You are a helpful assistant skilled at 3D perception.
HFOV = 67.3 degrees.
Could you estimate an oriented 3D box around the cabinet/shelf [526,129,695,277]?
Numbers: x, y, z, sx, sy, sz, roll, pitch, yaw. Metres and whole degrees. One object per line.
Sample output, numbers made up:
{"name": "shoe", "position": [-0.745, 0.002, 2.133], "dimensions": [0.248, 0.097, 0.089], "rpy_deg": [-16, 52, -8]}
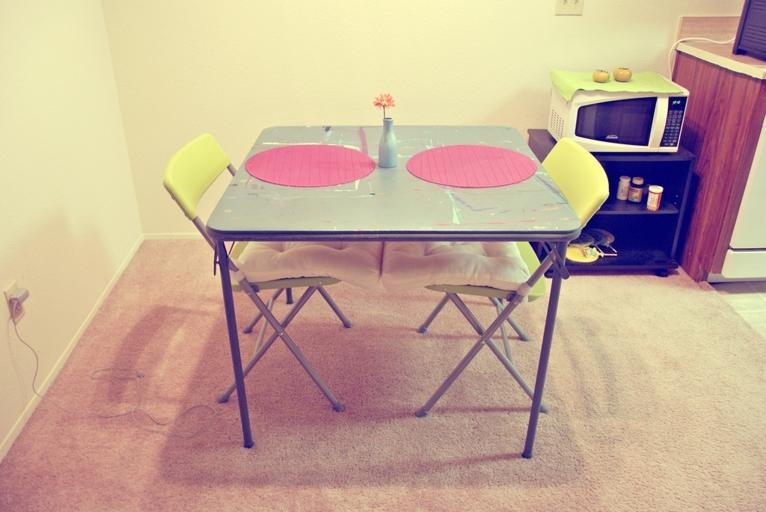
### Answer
{"name": "cabinet/shelf", "position": [1.410, -0.284, 3.752], "dimensions": [1.028, 0.877, 0.956], "rpy_deg": [-2, 38, 2]}

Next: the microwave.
{"name": "microwave", "position": [1.382, -0.862, 3.437], "dimensions": [0.694, 0.396, 0.446], "rpy_deg": [0, 31, 1]}

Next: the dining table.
{"name": "dining table", "position": [0.075, 0.119, 2.845], "dimensions": [1.505, 1.171, 1.199], "rpy_deg": [1, 31, 3]}

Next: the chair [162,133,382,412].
{"name": "chair", "position": [-0.512, 0.132, 2.828], "dimensions": [1.138, 1.428, 0.833], "rpy_deg": [-1, 41, -1]}
